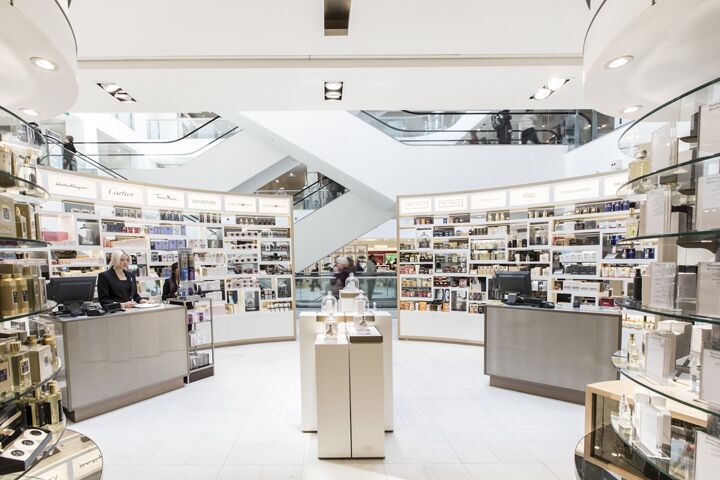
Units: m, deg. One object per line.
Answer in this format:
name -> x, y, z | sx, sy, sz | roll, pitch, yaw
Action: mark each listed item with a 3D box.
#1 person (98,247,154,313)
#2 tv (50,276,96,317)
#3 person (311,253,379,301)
person -> -3.471, 0.602, 7.256 | 0.578, 0.812, 0.786 | -7, 13, -27
tv -> -3.816, 0.737, 6.719 | 0.565, 0.488, 0.369 | -6, 13, -27
person -> -0.197, 0.861, 11.453 | 1.528, 0.981, 0.754 | 1, 4, 5
